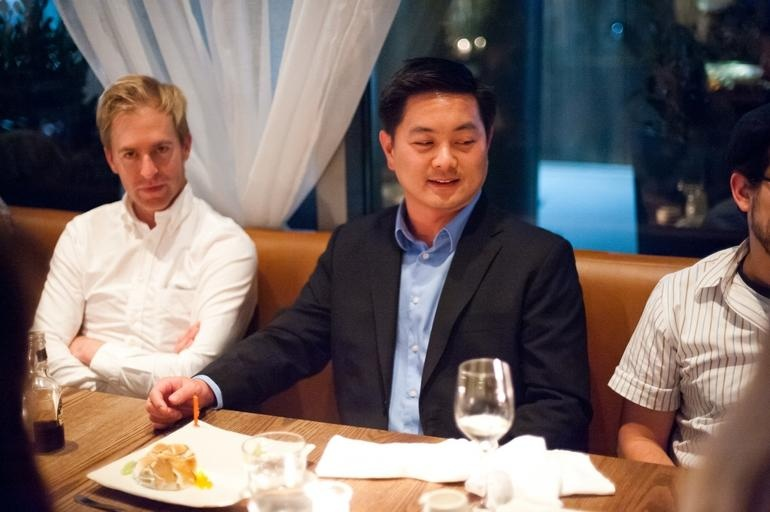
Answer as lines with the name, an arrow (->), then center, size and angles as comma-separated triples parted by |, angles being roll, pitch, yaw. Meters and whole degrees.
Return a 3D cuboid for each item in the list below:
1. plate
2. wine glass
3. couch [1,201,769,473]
plate -> -0.481, 0.559, 1.681 | 0.302, 0.044, 0.292 | 11, 18, 34
wine glass -> 0.237, 0.425, 1.591 | 0.138, 0.301, 0.255 | -1, 16, 13
couch -> -0.328, 0.411, 3.087 | 2.335, 0.889, 0.726 | 5, -15, -14
